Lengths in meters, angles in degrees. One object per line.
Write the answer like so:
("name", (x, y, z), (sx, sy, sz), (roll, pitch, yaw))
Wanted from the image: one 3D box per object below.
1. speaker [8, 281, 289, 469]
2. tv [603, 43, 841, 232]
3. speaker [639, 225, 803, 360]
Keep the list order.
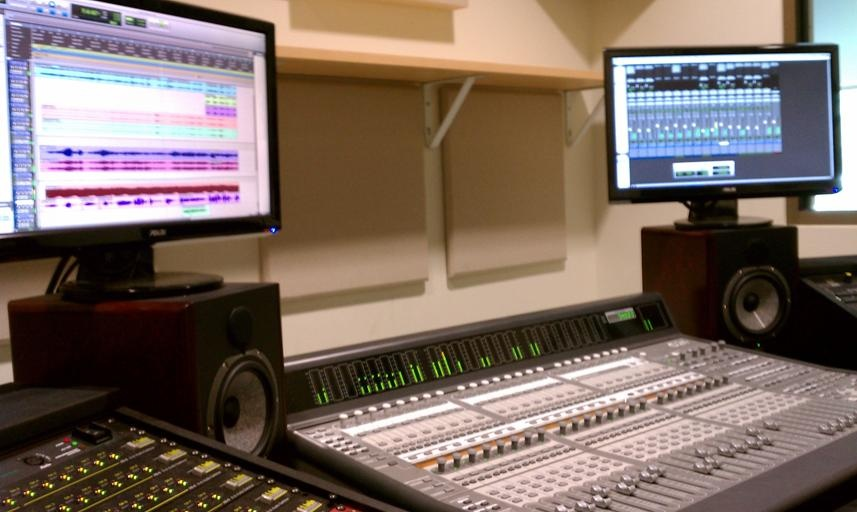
("speaker", (-0.542, 0.174, 1.465), (0.526, 0.449, 0.374), (2, 8, 18))
("tv", (1.017, -0.422, 2.221), (0.914, 0.609, 0.254), (-1, 0, -2))
("speaker", (1.072, 0.133, 2.268), (0.357, 0.425, 0.353), (-4, 4, -4))
